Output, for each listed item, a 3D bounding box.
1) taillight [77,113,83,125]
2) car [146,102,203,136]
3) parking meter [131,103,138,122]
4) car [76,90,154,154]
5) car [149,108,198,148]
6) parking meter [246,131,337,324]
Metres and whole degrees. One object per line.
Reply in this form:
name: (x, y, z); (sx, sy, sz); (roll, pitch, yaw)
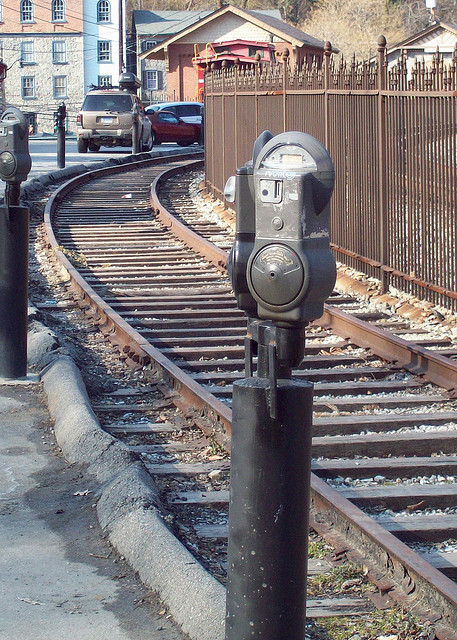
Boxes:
taillight: (-5.241, -7.102, 27.942); (0.138, 0.366, 0.427); (-3, 10, -21)
car: (-2.213, -9.143, 35.240); (2.733, 0.839, 1.185); (-4, 8, -20)
parking meter: (-3.142, -6.914, 26.566); (0.192, 0.577, 0.815); (0, 9, -8)
car: (-4.201, -7.532, 29.732); (2.315, 2.083, 4.567); (3, 18, 0)
car: (-2.516, -8.547, 34.662); (2.458, 1.040, 1.357); (-3, 9, -14)
parking meter: (0.131, -0.205, 1.724); (0.191, 0.400, 0.134); (4, 11, 19)
